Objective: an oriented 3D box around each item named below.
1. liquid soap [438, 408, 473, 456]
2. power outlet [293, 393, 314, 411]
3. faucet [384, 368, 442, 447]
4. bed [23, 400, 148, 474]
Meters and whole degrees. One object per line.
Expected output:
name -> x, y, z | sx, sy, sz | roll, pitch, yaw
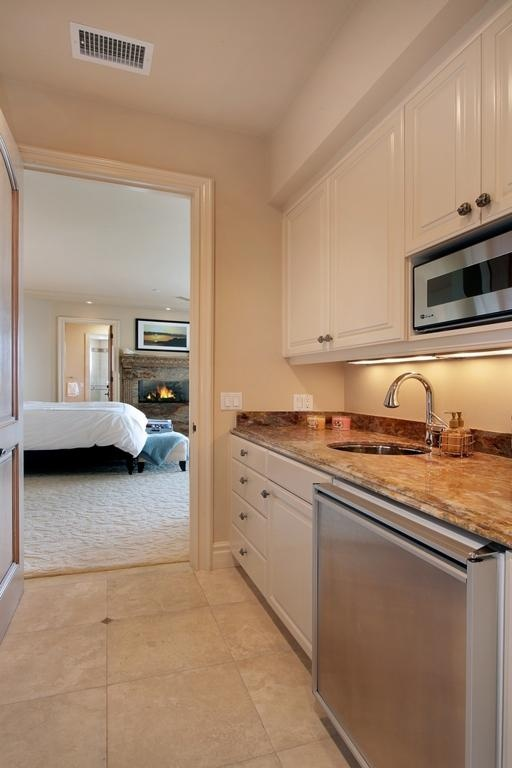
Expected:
liquid soap -> 0.662, 0.153, 1.718 | 0.115, 0.210, 0.136 | -1, -1, 12
power outlet -> 0.258, 0.098, 2.857 | 0.082, 0.080, 0.028 | 1, 2, -9
faucet -> 0.548, 0.098, 1.800 | 0.119, 0.274, 0.463 | 1, 1, 25
bed -> -1.694, 0.567, 5.193 | 1.155, 0.670, 0.687 | 0, 1, -16
